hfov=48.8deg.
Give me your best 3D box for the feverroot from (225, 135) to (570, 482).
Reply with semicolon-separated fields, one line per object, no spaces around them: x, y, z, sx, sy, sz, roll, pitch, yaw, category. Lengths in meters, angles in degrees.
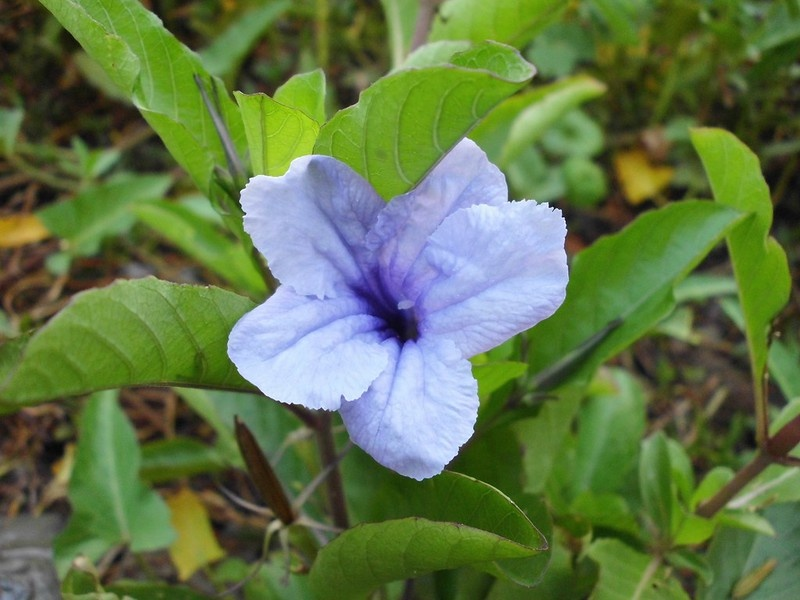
0.005;-0.012;1.173;0.436;0.163;0.479;6;26;-16;feverroot
